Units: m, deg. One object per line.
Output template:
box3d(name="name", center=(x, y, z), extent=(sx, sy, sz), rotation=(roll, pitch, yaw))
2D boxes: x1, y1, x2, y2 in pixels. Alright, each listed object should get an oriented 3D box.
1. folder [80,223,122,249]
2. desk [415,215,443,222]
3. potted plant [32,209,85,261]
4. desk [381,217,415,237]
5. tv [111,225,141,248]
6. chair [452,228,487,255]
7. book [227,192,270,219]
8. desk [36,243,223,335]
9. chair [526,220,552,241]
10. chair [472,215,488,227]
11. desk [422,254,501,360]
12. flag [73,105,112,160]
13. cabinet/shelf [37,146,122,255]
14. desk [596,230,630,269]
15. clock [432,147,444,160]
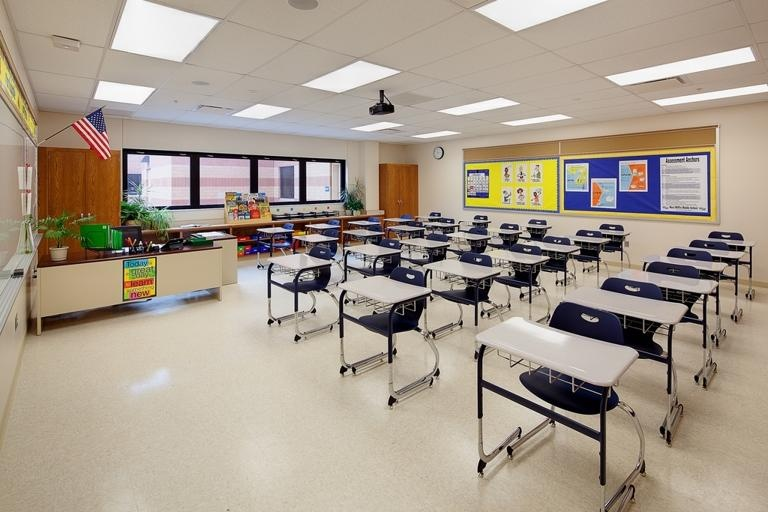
box3d(name="folder", center=(-4.378, -0.317, 7.247), extent=(0.591, 0.370, 0.417), rotation=(3, 8, 10))
box3d(name="desk", center=(1.204, -1.060, 12.742), extent=(0.440, 0.192, 1.197), rotation=(-3, 9, -11))
box3d(name="potted plant", center=(-4.872, -0.302, 7.168), extent=(0.730, 0.537, 0.720), rotation=(-8, 10, 24))
box3d(name="desk", center=(0.366, -0.670, 12.394), extent=(0.550, 0.413, 0.899), rotation=(-2, 4, -38))
box3d(name="tv", center=(-4.297, -0.342, 7.693), extent=(0.428, 0.387, 0.407), rotation=(4, 4, 40))
box3d(name="chair", center=(1.784, -0.341, 9.348), extent=(0.572, 0.673, 0.712), rotation=(-7, 11, -42))
box3d(name="book", center=(-3.273, -1.219, 11.095), extent=(0.683, 0.427, 0.236), rotation=(-6, 12, -39))
box3d(name="desk", center=(-4.171, 0.401, 7.676), extent=(0.891, 0.975, 2.781), rotation=(8, 11, 40))
box3d(name="chair", center=(3.451, -0.636, 10.568), extent=(0.503, 0.504, 0.728), rotation=(-4, 5, -44))
box3d(name="chair", center=(2.459, -0.913, 11.785), extent=(0.400, 0.367, 0.368), rotation=(7, 11, 41))
box3d(name="desk", center=(1.122, 0.571, 6.504), extent=(1.113, 1.143, 0.912), rotation=(6, 11, 41))
box3d(name="flag", center=(-4.526, -1.962, 7.290), extent=(0.323, 0.766, 0.426), rotation=(0, 9, 7))
box3d(name="cabinet/shelf", center=(-5.682, -1.048, 8.938), extent=(1.249, 2.354, 0.733), rotation=(4, 29, -26))
box3d(name="desk", center=(4.565, -0.207, 9.448), extent=(0.637, 0.585, 0.517), rotation=(11, 13, 8))
box3d(name="clock", center=(1.590, -3.004, 13.409), extent=(0.056, 0.389, 0.413), rotation=(-9, 12, -39))
